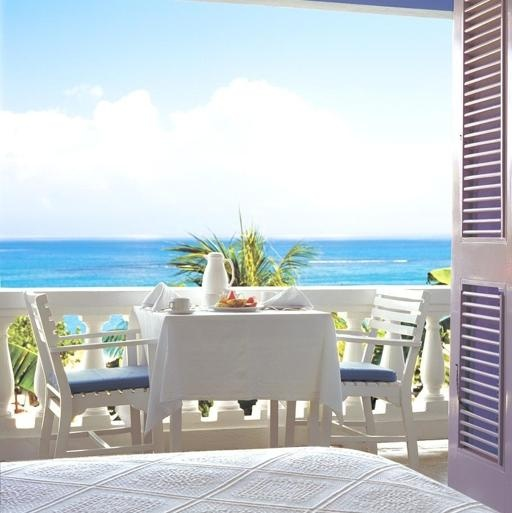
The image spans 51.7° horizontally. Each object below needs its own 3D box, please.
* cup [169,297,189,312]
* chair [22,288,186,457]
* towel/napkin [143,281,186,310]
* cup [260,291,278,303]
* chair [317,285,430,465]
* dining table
[{"bbox_3d":[-0.315,0.196,2.180,0.068,0.053,0.053,0,9,-5],"label":"cup"},{"bbox_3d":[-0.692,0.587,2.290,0.560,0.738,0.542,1,-4,-16],"label":"chair"},{"bbox_3d":[-0.439,0.173,2.428,0.134,0.072,0.168,-1,8,-26],"label":"towel/napkin"},{"bbox_3d":[0.058,0.194,2.526,0.074,0.054,0.047,2,13,-36],"label":"cup"},{"bbox_3d":[0.559,0.608,2.527,0.497,0.719,0.509,-1,-9,17],"label":"chair"},{"bbox_3d":[-0.057,0.422,2.135,0.608,0.469,0.619,1,-6,-9],"label":"dining table"}]
